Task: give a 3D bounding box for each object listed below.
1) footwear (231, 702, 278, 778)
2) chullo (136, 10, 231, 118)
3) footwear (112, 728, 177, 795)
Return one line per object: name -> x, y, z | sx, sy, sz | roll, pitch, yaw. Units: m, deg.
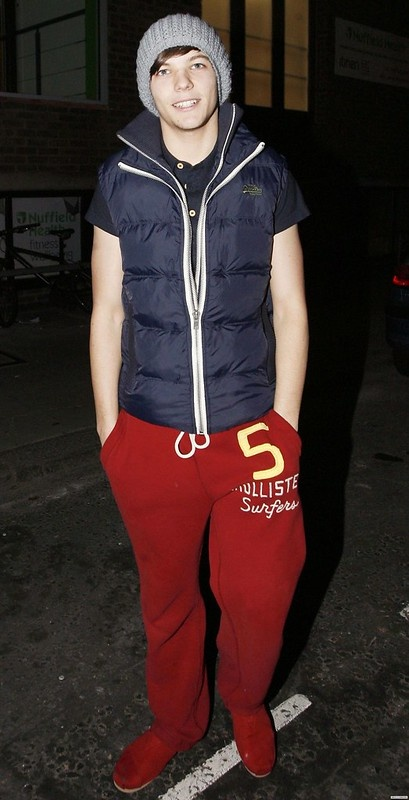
footwear -> 0.139, 1.006, 1.943 | 0.095, 0.127, 0.300 | -8, 38, -3
chullo -> -0.045, -0.804, 1.525 | 0.177, 0.215, 0.235 | -1, 19, 3
footwear -> -0.172, 1.089, 1.978 | 0.108, 0.107, 0.247 | 33, 16, 21
